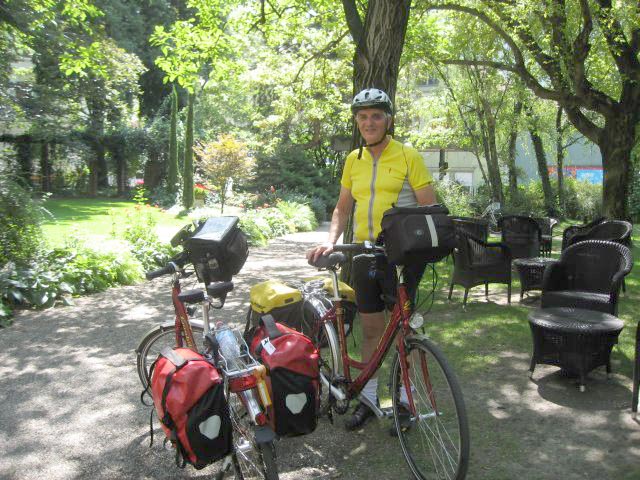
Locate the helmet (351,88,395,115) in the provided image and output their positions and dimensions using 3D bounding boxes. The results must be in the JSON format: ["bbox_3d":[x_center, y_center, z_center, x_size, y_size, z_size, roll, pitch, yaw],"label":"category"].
[{"bbox_3d":[0.472,-1.257,5.049,0.357,0.228,0.221,0,5,2],"label":"helmet"}]

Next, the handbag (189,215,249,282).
[{"bbox_3d":[-0.964,0.077,5.118,0.482,0.524,0.523,11,35,15],"label":"handbag"}]

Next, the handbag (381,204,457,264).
[{"bbox_3d":[0.812,-0.031,4.572,0.549,0.411,0.435,-4,-17,-20],"label":"handbag"}]
